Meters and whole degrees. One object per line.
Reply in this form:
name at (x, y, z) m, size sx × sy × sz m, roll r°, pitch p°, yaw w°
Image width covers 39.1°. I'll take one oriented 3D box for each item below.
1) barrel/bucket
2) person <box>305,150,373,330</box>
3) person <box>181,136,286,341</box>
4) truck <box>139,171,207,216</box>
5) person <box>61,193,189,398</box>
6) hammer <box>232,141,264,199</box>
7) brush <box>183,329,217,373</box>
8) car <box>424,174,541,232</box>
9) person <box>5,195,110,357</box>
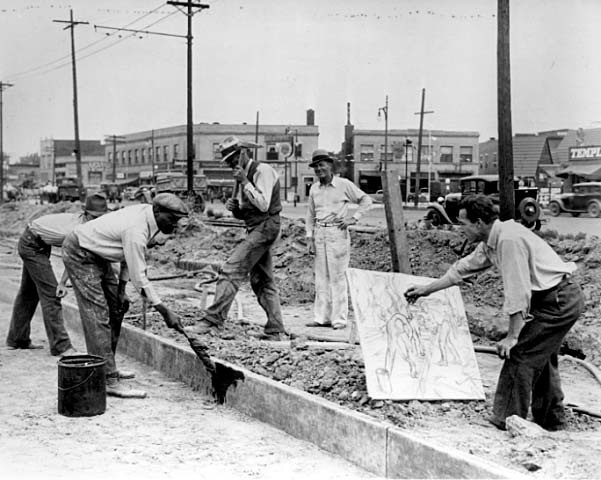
barrel/bucket at (-2.026, 1.369, 7.816) m, size 0.431 × 0.494 × 0.241 m, roll -1°, pitch 4°, yaw -19°
person at (0.429, -0.001, 11.202) m, size 0.798 × 2.365 × 0.576 m, roll 0°, pitch 0°, yaw 25°
person at (-0.641, -0.003, 9.738) m, size 0.974 × 2.334 × 0.610 m, roll 0°, pitch 4°, yaw -9°
truck at (-4.440, -1.778, 29.858) m, size 1.636 × 2.159 × 5.080 m, roll -4°, pitch 7°, yaw -17°
person at (-1.800, 0.535, 8.555) m, size 1.068 × 2.059 × 0.717 m, roll 4°, pitch 4°, yaw 9°
hammer at (-0.650, -0.780, 9.743) m, size 0.201 × 0.724 × 0.246 m, roll -5°, pitch 10°, yaw -33°
brush at (-0.990, 1.090, 8.381) m, size 0.095 × 0.078 × 0.339 m, roll 4°, pitch -43°, yaw 31°
car at (5.443, -1.066, 22.620) m, size 1.801 × 2.261 × 4.304 m, roll 0°, pitch 1°, yaw -13°
person at (-2.868, 0.401, 9.802) m, size 0.974 × 2.061 × 1.028 m, roll 4°, pitch 14°, yaw -29°
